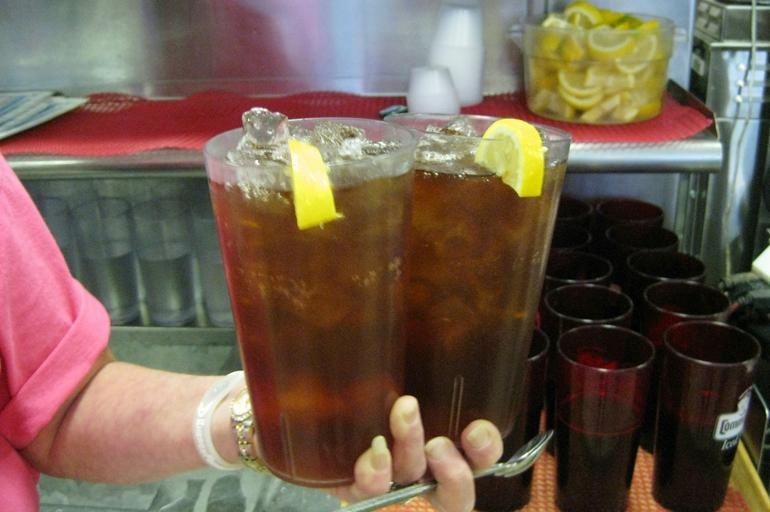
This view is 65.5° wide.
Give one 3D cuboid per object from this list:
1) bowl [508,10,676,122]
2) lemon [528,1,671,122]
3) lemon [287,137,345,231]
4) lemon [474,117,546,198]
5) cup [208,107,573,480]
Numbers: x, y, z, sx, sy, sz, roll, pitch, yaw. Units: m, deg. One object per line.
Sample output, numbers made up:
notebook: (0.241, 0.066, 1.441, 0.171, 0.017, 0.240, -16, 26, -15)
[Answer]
bowl: (0.543, -0.484, 1.658, 0.386, 0.226, 0.345, -2, 16, 1)
lemon: (0.561, -0.517, 1.664, 0.362, 0.217, 0.353, -20, 26, -39)
lemon: (-0.083, -0.085, 0.711, 0.052, 0.101, 0.043, -8, 22, -10)
lemon: (0.165, -0.129, 0.785, 0.088, 0.097, 0.066, 1, 21, 12)
cup: (0.022, 0.032, 0.837, 0.461, 0.477, 0.208, -11, 22, -19)
